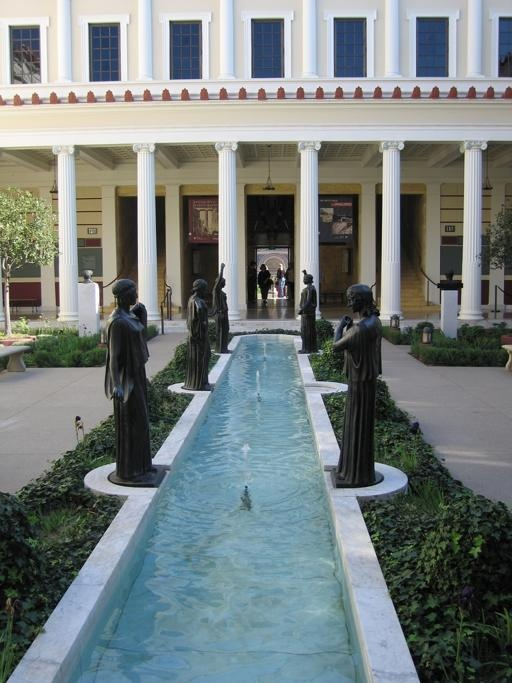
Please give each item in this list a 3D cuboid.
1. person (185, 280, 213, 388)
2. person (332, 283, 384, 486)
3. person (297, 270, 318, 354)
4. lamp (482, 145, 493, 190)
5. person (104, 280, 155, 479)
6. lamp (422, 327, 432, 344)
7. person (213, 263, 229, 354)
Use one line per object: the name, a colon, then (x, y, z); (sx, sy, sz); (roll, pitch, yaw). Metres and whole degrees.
person: (-0.818, -0.082, 8.354); (0.350, 1.466, 0.997); (0, 7, -6)
person: (0.710, 0.320, 4.309); (0.368, 1.432, 0.384); (3, 7, 19)
person: (1.003, -0.420, 11.791); (0.335, 1.389, 0.642); (2, 6, 6)
lamp: (8.494, -6.261, 22.363); (0.388, 1.183, 1.831); (3, 7, 20)
person: (-0.920, 0.383, 4.449); (0.372, 1.348, 0.321); (-2, 7, -25)
lamp: (3.572, -0.106, 12.772); (0.262, 0.372, 0.278); (0, 7, 1)
person: (-0.703, -0.540, 11.994); (0.294, 1.615, 0.780); (0, 6, -4)
